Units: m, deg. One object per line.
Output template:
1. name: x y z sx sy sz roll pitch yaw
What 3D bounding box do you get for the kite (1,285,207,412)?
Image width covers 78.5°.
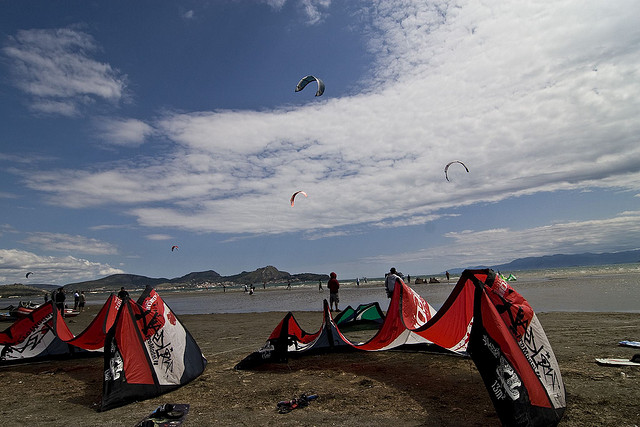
1. kite: -5.747 3.477 10.334 3.852 1.610 4.038 2 -10 22
